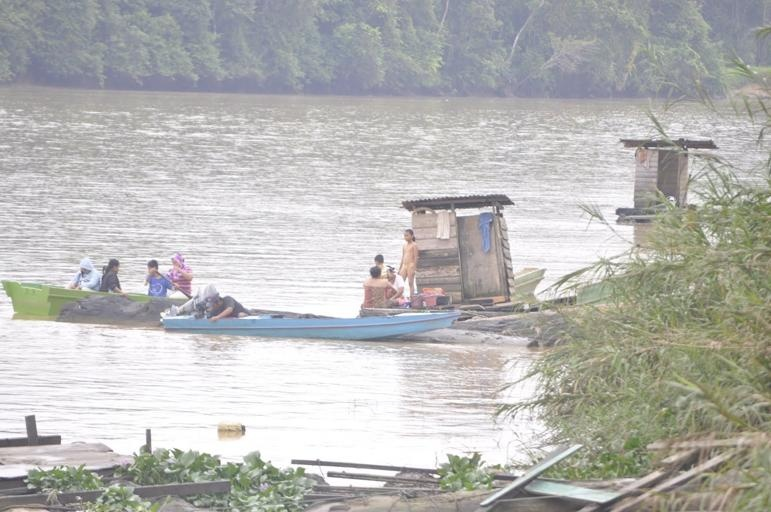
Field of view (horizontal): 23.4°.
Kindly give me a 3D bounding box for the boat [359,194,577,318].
[{"bbox_3d":[5.498,-0.141,104.536,9.240,5.236,8.168,-1,1,18],"label":"boat"}]
